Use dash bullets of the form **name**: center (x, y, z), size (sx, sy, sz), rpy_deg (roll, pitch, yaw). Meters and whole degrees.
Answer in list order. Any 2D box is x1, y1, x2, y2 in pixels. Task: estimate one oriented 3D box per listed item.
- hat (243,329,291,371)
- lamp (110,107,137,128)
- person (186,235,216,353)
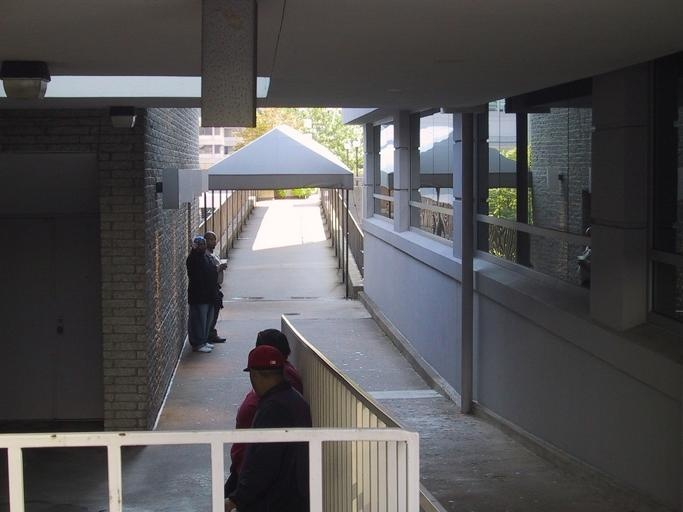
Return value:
- **hat**: center (-0.517, 0.709, 4.335), size (0.310, 0.268, 0.478), rpy_deg (0, 0, -15)
- **lamp**: center (-2.424, -1.561, 6.784), size (0.268, 0.208, 0.119), rpy_deg (1, 9, 13)
- **person**: center (-2.468, 0.689, 10.895), size (0.541, 2.099, 0.459), rpy_deg (-4, 9, -17)
